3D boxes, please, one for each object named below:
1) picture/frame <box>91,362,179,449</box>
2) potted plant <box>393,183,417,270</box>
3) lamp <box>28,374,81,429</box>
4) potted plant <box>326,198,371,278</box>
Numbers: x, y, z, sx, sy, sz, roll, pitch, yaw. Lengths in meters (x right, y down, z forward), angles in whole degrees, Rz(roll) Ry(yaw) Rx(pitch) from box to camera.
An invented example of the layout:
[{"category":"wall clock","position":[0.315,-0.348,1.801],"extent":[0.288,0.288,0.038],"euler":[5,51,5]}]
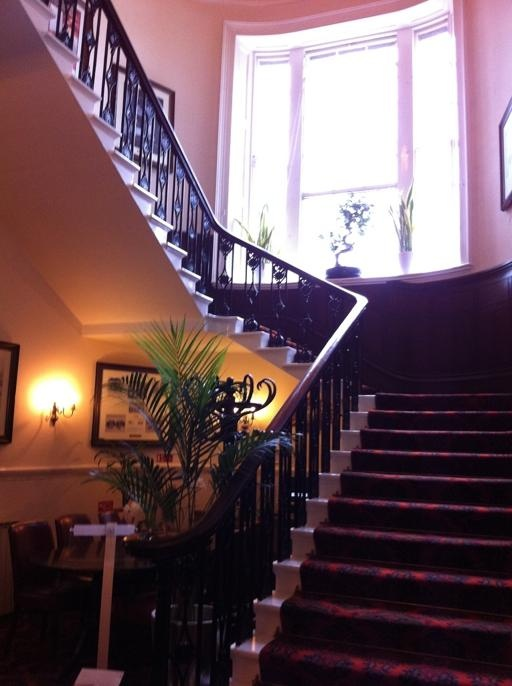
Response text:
[{"category":"picture/frame","position":[-0.947,0.452,3.732],"extent":[0.047,0.822,0.738],"euler":[0,-5,36]},{"category":"potted plant","position":[1.683,-1.279,5.856],"extent":[0.259,1.069,0.382],"euler":[-4,-9,20]},{"category":"lamp","position":[-1.721,0.494,4.430],"extent":[0.131,0.436,0.536],"euler":[-2,-10,12]},{"category":"potted plant","position":[1.098,-1.248,6.028],"extent":[0.533,1.210,0.585],"euler":[-3,-9,18]}]
